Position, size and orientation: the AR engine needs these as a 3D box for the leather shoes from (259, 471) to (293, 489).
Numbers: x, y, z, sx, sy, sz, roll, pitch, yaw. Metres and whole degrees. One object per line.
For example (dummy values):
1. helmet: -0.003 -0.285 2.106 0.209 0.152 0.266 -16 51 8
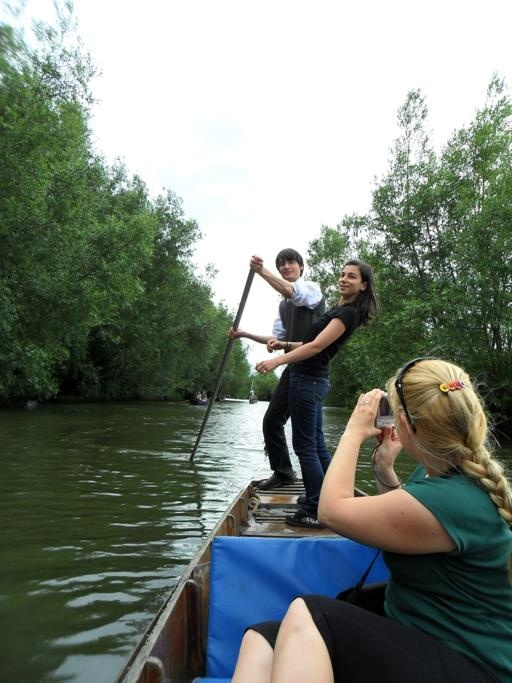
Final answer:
1. leather shoes: 0.182 1.248 4.502 0.404 0.165 0.128 -1 -6 -12
